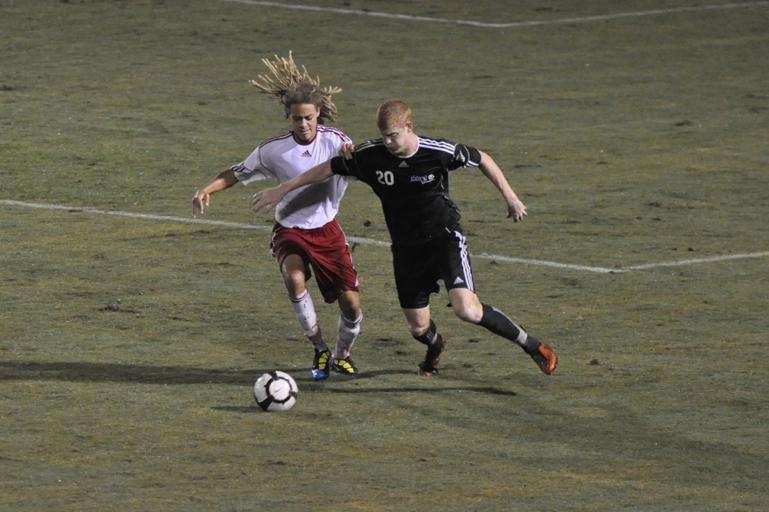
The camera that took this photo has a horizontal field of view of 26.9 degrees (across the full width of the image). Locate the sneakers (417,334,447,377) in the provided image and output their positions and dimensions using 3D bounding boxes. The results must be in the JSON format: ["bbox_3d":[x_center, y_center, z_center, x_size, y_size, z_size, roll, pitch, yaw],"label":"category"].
[{"bbox_3d":[0.604,1.199,19.285,0.293,0.522,0.262,11,15,-45],"label":"sneakers"}]

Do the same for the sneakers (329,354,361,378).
[{"bbox_3d":[-0.460,1.340,19.199,0.450,0.198,0.188,6,5,4],"label":"sneakers"}]

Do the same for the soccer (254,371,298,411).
[{"bbox_3d":[-1.201,1.548,18.533,0.476,0.316,0.370,7,-17,5],"label":"soccer"}]

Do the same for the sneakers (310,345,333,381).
[{"bbox_3d":[-0.731,1.306,19.094,0.194,0.381,0.222,0,-3,21],"label":"sneakers"}]
